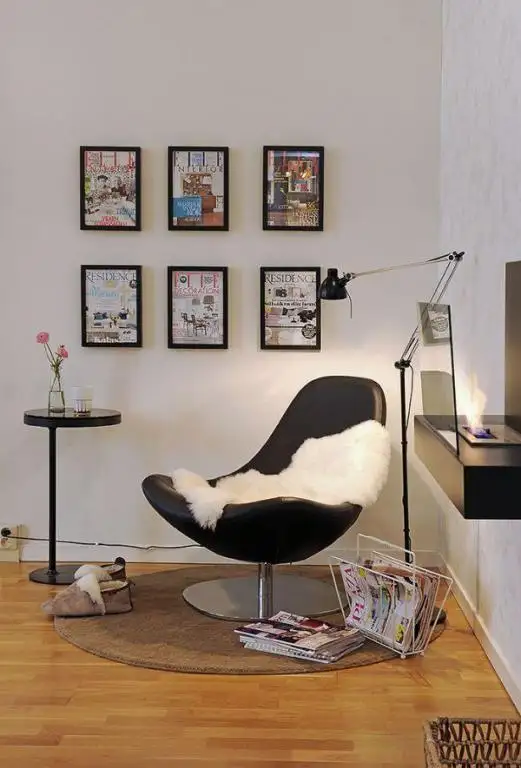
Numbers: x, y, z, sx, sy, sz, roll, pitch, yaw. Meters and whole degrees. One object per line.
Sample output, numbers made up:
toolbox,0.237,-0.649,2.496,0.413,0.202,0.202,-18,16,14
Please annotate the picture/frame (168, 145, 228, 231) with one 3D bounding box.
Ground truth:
picture/frame,-0.267,-0.875,3.210,0.358,0.484,0.018,0,6,4

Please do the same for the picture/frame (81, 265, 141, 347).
picture/frame,-0.651,-0.360,3.242,0.350,0.505,0.020,0,0,-2

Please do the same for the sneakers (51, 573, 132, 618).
sneakers,-0.596,0.753,2.603,0.226,0.087,0.135,1,-8,-8

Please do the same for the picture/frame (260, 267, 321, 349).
picture/frame,0.134,-0.352,3.224,0.345,0.466,0.017,0,1,-2

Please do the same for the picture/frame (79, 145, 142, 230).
picture/frame,-0.657,-0.875,3.214,0.351,0.483,0.022,1,6,4

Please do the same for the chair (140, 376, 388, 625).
chair,0.057,0.391,2.692,0.843,0.813,0.723,3,-1,-42

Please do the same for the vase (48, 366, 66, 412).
vase,-0.857,0.030,3.087,0.066,0.167,0.250,-1,4,-16

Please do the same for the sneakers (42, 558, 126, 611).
sneakers,-0.592,0.720,2.605,0.208,0.085,0.161,-4,5,-27

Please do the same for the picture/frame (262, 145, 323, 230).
picture/frame,0.145,-0.874,3.195,0.353,0.486,0.021,0,5,2

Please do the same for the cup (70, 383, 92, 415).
cup,-0.727,0.069,3.007,0.079,0.114,0.156,-1,4,-14
